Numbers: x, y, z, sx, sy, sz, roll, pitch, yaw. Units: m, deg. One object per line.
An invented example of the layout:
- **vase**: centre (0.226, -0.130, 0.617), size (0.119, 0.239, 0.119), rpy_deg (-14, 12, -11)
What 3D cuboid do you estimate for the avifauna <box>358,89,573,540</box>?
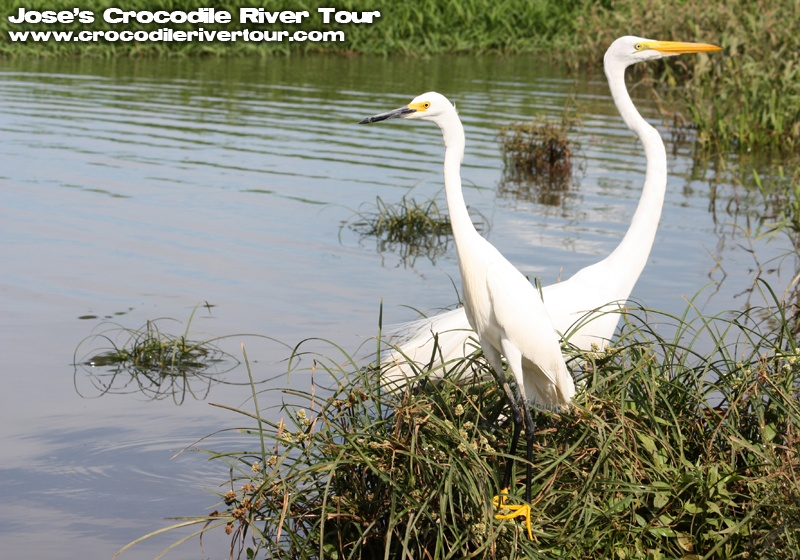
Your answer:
- **avifauna**: centre (0.847, 0.168, 7.983), size (0.794, 3.141, 1.390), rpy_deg (-7, 14, -33)
